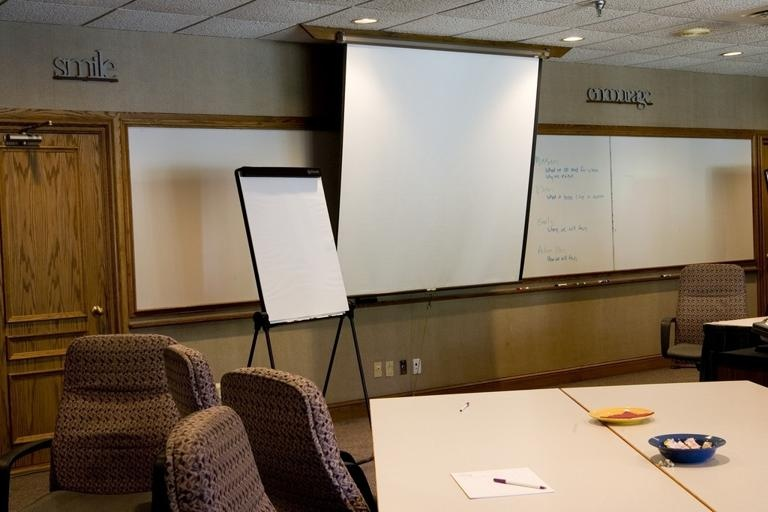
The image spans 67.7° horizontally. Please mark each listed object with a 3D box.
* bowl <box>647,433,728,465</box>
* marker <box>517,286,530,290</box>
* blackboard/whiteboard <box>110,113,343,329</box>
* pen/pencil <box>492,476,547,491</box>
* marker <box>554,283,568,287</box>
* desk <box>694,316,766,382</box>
[{"bbox_3d":[1.297,0.814,2.429,0.309,0.079,0.178,0,6,12],"label":"bowl"},{"bbox_3d":[1.488,0.344,6.086,0.139,0.042,0.016,-5,7,-26],"label":"marker"},{"bbox_3d":[-1.382,-0.250,4.718,1.869,1.615,0.069,-2,0,-30],"label":"blackboard/whiteboard"},{"bbox_3d":[0.542,0.903,2.278,0.145,0.017,0.023,0,9,28],"label":"pen/pencil"},{"bbox_3d":[1.953,0.311,6.279,0.197,0.061,0.040,2,2,-28],"label":"marker"},{"bbox_3d":[2.620,0.639,4.490,0.595,0.552,0.436,-1,-2,-3],"label":"desk"}]
